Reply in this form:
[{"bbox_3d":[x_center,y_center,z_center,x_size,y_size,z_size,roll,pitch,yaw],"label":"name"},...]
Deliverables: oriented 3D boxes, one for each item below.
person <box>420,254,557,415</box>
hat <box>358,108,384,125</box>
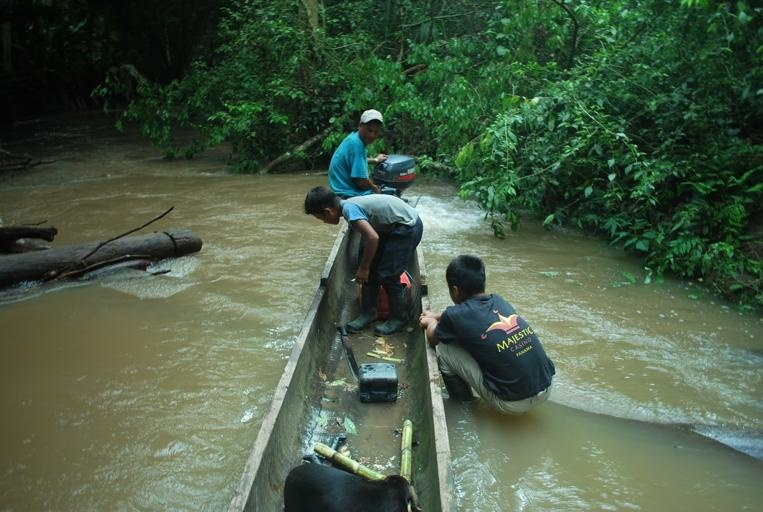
[{"bbox_3d":[1.120,0.876,7.146,0.692,1.413,1.230,-25,37,-21],"label":"person"},{"bbox_3d":[-0.118,-1.688,8.330,0.237,0.154,0.241,4,24,-2],"label":"hat"}]
